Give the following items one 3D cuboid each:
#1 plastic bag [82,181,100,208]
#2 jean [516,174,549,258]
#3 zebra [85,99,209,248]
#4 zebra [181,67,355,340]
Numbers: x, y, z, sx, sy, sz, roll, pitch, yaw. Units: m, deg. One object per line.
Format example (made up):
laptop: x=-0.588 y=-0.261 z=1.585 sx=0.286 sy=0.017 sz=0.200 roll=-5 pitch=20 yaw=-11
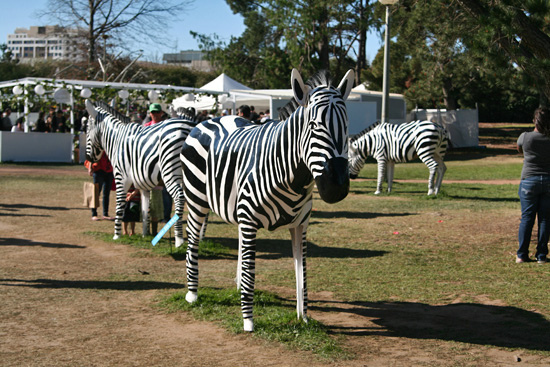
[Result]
plastic bag: x=-6.114 y=0.377 z=33.022 sx=0.931 sy=0.930 sz=0.342 roll=1 pitch=-1 yaw=41
jean: x=7.835 y=0.967 z=30.013 sx=0.909 sy=2.546 sz=0.375 roll=2 pitch=5 yaw=1
zebra: x=-4.199 y=-0.551 z=31.901 sx=5.694 sy=4.442 sz=1.791 roll=3 pitch=3 yaw=36
zebra: x=-0.309 y=0.484 z=28.903 sx=2.519 sy=6.935 sz=8.953 roll=-1 pitch=2 yaw=-28
